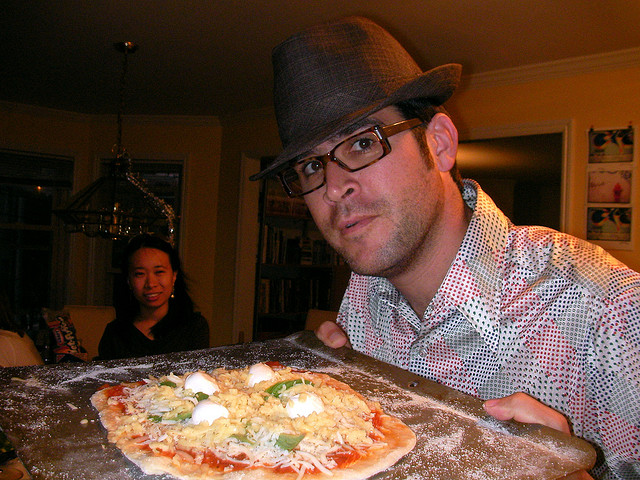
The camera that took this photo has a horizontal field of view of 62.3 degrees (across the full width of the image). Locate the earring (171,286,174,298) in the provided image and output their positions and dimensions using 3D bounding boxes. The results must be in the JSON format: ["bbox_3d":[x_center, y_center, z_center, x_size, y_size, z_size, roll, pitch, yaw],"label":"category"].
[{"bbox_3d":[-0.998,0.367,3.598,0.016,0.067,0.038,1,0,-16],"label":"earring"}]

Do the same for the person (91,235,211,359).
[{"bbox_3d":[-1.087,0.367,3.513,0.677,0.787,0.501,1,0,-18],"label":"person"}]

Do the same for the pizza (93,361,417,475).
[{"bbox_3d":[-0.231,0.568,1.693,0.984,0.234,0.581,1,-1,-14],"label":"pizza"}]
